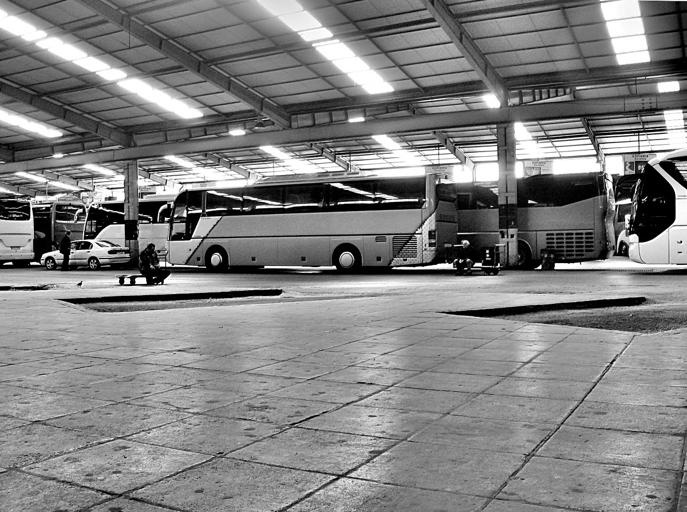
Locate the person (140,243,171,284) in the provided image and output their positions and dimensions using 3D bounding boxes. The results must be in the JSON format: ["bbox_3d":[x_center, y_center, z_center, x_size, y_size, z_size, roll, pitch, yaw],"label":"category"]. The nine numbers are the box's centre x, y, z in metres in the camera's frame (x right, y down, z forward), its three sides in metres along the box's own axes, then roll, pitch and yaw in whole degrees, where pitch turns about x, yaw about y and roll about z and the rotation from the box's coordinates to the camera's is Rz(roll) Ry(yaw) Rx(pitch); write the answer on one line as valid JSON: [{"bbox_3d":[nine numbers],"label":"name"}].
[{"bbox_3d":[-5.321,0.219,15.435,0.762,1.245,0.598,5,16,-7],"label":"person"}]

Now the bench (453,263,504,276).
[{"bbox_3d":[5.137,0.554,20.757,1.409,0.367,0.865,-2,-3,16],"label":"bench"}]

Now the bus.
[{"bbox_3d":[3.200,-1.571,23.876,19.926,4.732,4.376,0,0,21],"label":"bus"}]

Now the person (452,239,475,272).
[{"bbox_3d":[4.670,-0.002,20.980,0.862,1.355,0.847,-3,-1,9],"label":"person"}]
